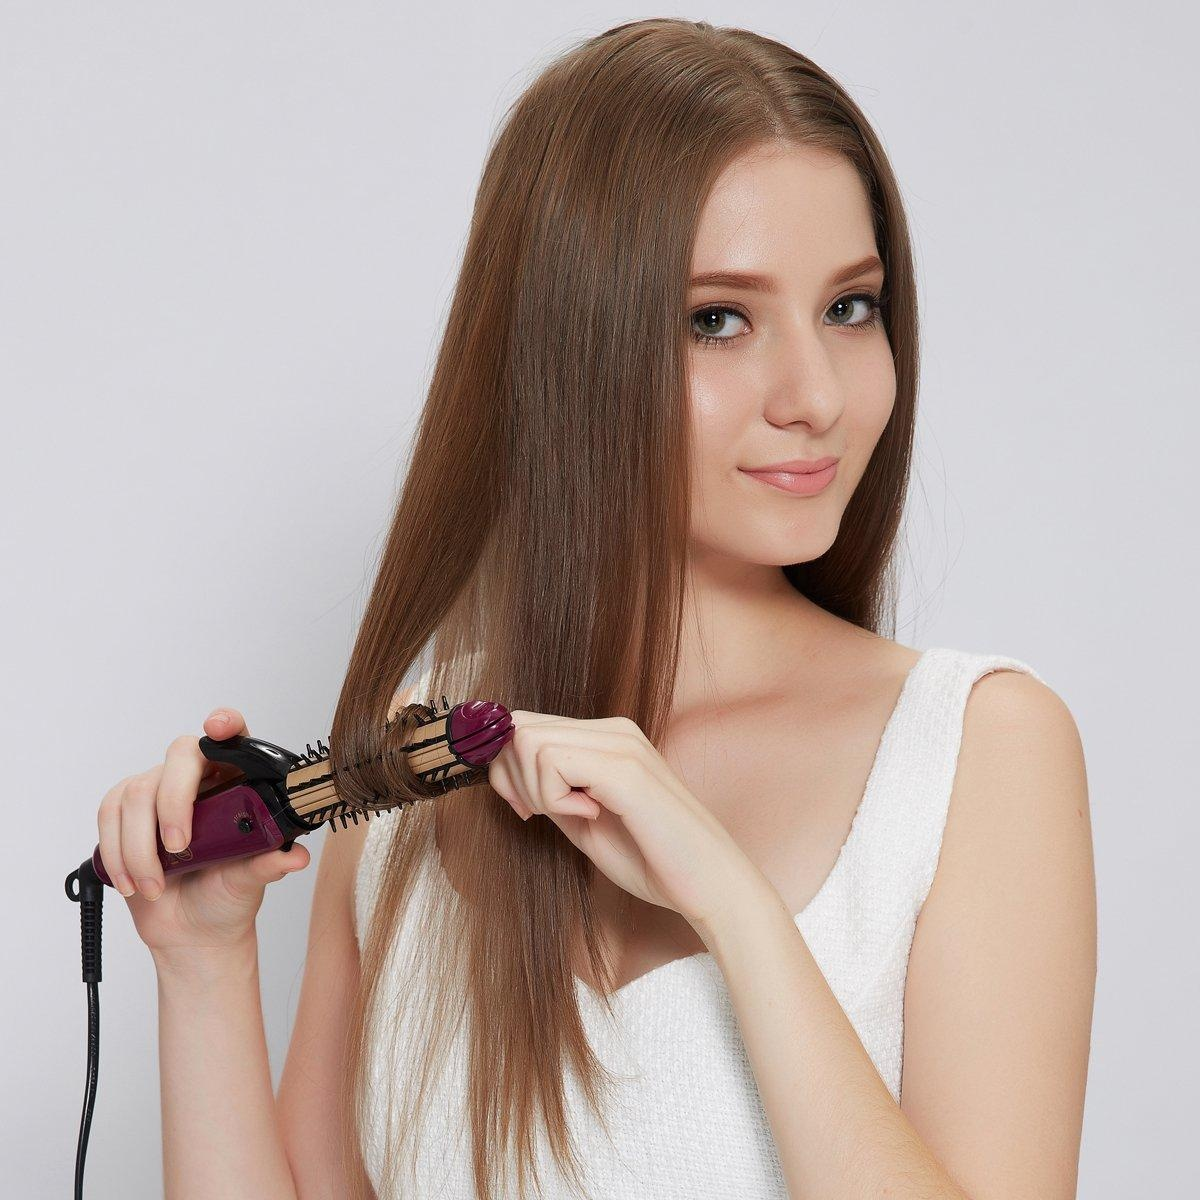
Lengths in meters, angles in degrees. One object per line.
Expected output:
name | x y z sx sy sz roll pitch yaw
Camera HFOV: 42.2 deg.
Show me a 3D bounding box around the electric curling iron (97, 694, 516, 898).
electric curling iron | -0.258 0.152 1.255 0.415 0.111 0.060 -19 -9 19
